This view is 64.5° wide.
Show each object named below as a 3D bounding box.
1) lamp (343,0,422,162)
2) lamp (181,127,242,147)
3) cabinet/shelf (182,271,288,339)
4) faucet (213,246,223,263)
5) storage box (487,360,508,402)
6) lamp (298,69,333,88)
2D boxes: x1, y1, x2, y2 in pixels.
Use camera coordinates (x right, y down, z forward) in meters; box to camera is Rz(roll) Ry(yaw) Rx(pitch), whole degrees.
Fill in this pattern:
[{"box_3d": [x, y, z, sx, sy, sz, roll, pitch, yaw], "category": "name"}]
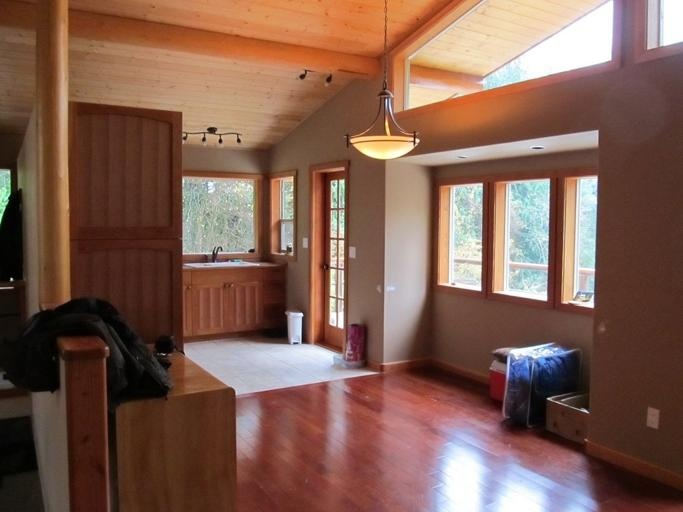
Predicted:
[{"box_3d": [0.420, -1.645, 5.060, 0.749, 1.509, 2.123, 0, 6, 0], "category": "lamp"}, {"box_3d": [-1.777, -1.677, 7.486, 0.808, 0.202, 0.593, -1, 7, -16], "category": "lamp"}, {"box_3d": [-1.528, 0.669, 7.409, 1.078, 0.656, 0.385, -1, 1, -34], "category": "cabinet/shelf"}, {"box_3d": [-1.836, -0.018, 7.956, 0.120, 0.278, 0.211, 6, 6, 12], "category": "faucet"}, {"box_3d": [1.507, 1.204, 5.208, 0.085, 0.375, 0.251, -2, 6, -18], "category": "storage box"}, {"box_3d": [-0.290, -2.042, 6.153, 0.411, 0.158, 0.581, 0, 7, -5], "category": "lamp"}]
